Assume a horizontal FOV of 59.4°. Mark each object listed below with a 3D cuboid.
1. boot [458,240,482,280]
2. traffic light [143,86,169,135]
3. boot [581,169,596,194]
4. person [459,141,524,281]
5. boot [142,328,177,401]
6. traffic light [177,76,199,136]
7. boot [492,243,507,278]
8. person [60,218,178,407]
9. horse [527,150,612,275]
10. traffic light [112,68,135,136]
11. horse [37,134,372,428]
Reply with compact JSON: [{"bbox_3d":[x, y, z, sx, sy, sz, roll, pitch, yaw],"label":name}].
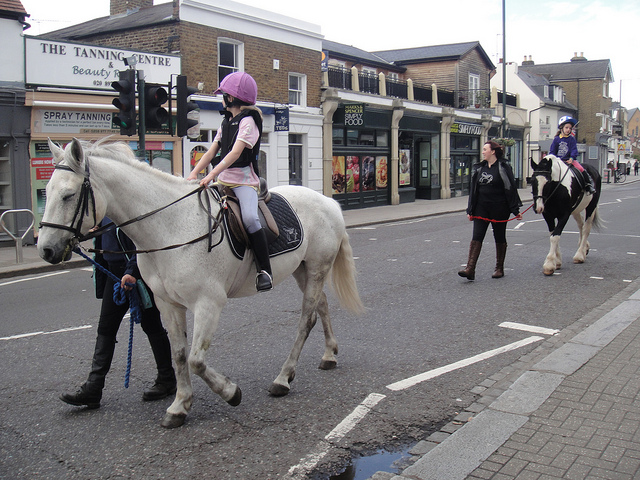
[{"bbox_3d":[2.918,0.390,10.995,0.403,0.731,0.908,2,9,15],"label":"boot"},{"bbox_3d":[-3.767,-3.001,12.851,0.490,0.975,1.140,-2,9,-15],"label":"traffic light"},{"bbox_3d":[5.958,-1.281,12.511,0.170,0.539,0.356,-20,-40,25],"label":"boot"},{"bbox_3d":[3.425,-0.594,11.137,1.140,2.652,1.022,0,8,-3],"label":"person"},{"bbox_3d":[-1.639,1.282,5.692,0.358,0.626,0.541,17,17,40],"label":"boot"},{"bbox_3d":[-3.041,-3.039,12.733,0.457,1.320,0.723,-2,9,-14],"label":"traffic light"},{"bbox_3d":[3.578,0.400,11.247,0.223,0.637,0.551,3,9,17],"label":"boot"},{"bbox_3d":[-2.159,0.594,5.725,1.028,0.677,2.444,-2,47,-28],"label":"person"},{"bbox_3d":[5.792,-0.597,12.832,0.949,2.584,3.854,-3,4,43],"label":"horse"},{"bbox_3d":[-4.218,-2.951,12.005,0.468,1.413,0.480,-2,9,-17],"label":"traffic light"},{"bbox_3d":[-1.010,0.327,5.414,3.077,2.572,0.859,-7,11,-38],"label":"horse"}]
